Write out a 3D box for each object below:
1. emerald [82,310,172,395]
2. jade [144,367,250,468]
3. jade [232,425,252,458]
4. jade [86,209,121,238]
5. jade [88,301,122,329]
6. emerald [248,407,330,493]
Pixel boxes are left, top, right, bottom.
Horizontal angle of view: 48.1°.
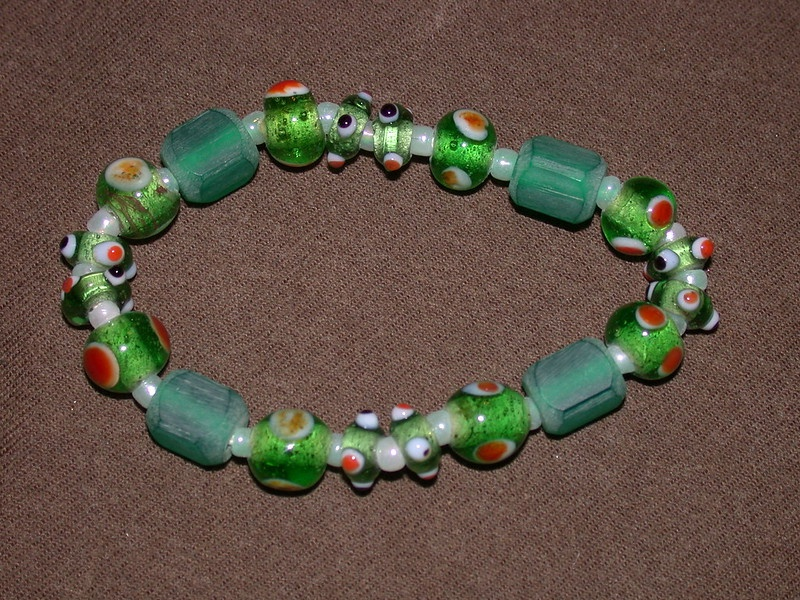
[{"bbox_3d":[-0.521,0.099,1.710,0.159,0.066,0.136,-35,86,-2],"label":"emerald"},{"bbox_3d":[-0.381,0.213,1.754,0.181,0.167,0.164,21,97,13],"label":"jade"},{"bbox_3d":[-0.298,0.267,1.689,0.036,0.050,0.050,6,92,14],"label":"jade"},{"bbox_3d":[-0.571,-0.149,1.731,0.053,0.054,0.051,38,87,0],"label":"jade"},{"bbox_3d":[-0.563,0.024,1.702,0.053,0.054,0.055,-16,98,3],"label":"jade"},{"bbox_3d":[-0.207,0.281,1.676,0.151,0.052,0.152,6,85,1],"label":"emerald"}]
